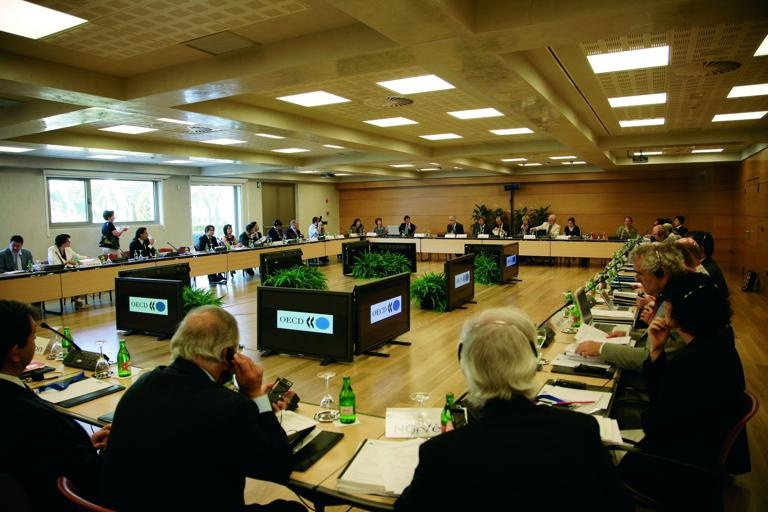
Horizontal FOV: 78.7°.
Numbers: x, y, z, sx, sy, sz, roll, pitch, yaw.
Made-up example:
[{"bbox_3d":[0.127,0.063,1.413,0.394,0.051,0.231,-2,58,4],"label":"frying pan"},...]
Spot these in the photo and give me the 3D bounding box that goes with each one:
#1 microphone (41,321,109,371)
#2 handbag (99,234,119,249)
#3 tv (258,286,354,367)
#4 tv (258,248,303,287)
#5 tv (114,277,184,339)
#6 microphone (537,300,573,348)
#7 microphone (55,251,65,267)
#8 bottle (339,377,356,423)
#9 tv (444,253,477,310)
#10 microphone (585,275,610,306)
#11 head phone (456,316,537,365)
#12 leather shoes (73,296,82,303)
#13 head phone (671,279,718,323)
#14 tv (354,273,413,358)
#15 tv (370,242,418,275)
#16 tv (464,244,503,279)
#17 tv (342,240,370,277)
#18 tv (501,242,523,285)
[{"bbox_3d":[-2.807,0.820,4.213,0.586,0.286,0.187,20,-5,-13],"label":"microphone"},{"bbox_3d":[-6.255,-0.338,10.571,0.369,0.239,0.362,3,4,26],"label":"handbag"},{"bbox_3d":[-0.906,0.741,5.141,1.335,0.815,0.327,1,0,25],"label":"tv"},{"bbox_3d":[-2.205,0.246,10.135,0.158,0.687,1.282,9,9,28],"label":"tv"},{"bbox_3d":[-3.085,0.652,6.129,0.890,0.544,0.282,7,17,21],"label":"tv"},{"bbox_3d":[1.812,0.740,4.929,0.158,0.191,0.906,16,12,30],"label":"microphone"},{"bbox_3d":[-6.339,0.065,9.227,0.080,0.277,0.313,-7,1,-4],"label":"microphone"},{"bbox_3d":[-0.270,0.988,3.318,0.124,0.318,0.190,-2,7,-6],"label":"bottle"},{"bbox_3d":[1.412,0.498,8.627,0.286,0.690,1.059,1,5,23],"label":"tv"},{"bbox_3d":[2.760,0.448,6.021,0.341,0.293,0.275,-9,12,-42],"label":"microphone"},{"bbox_3d":[0.568,0.446,2.362,0.280,0.308,0.337,-1,11,9],"label":"head phone"},{"bbox_3d":[-6.202,0.874,9.450,0.185,0.081,0.242,-1,3,-41],"label":"leather shoes"},{"bbox_3d":[2.130,0.271,3.246,0.272,0.291,0.331,1,18,17],"label":"head phone"},{"bbox_3d":[-0.007,0.798,6.007,0.436,0.664,1.117,4,7,27],"label":"tv"},{"bbox_3d":[0.212,0.049,11.309,0.926,0.515,0.117,3,10,21],"label":"tv"},{"bbox_3d":[2.286,0.140,10.629,0.844,0.714,0.463,-1,-2,43],"label":"tv"},{"bbox_3d":[-0.697,0.071,11.496,0.303,0.818,0.931,16,16,39],"label":"tv"},{"bbox_3d":[3.078,0.150,11.480,0.554,0.901,1.335,1,6,30],"label":"tv"}]
